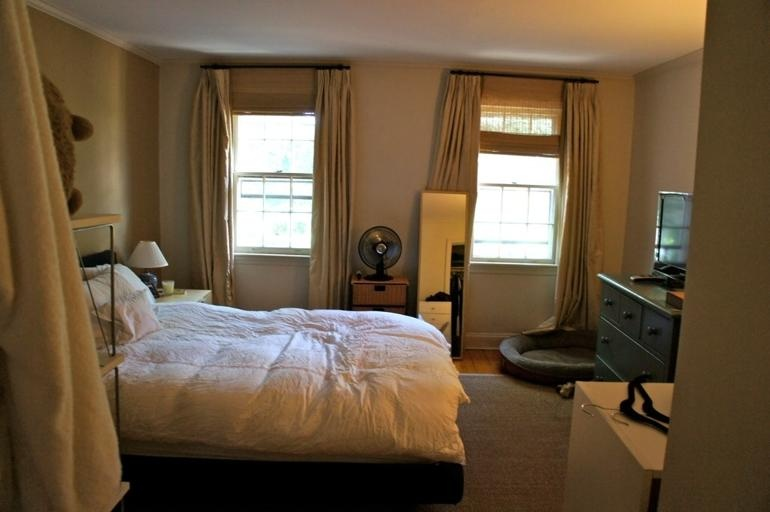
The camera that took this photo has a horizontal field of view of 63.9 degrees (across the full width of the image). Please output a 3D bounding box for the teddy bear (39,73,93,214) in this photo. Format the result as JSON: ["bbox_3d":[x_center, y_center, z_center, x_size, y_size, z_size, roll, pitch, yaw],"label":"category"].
[{"bbox_3d":[-1.151,-0.399,2.260,0.142,0.495,0.450,-4,14,-25],"label":"teddy bear"}]

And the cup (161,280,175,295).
[{"bbox_3d":[-1.879,0.264,5.369,0.119,0.135,0.126,3,4,0],"label":"cup"}]

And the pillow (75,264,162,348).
[{"bbox_3d":[-1.555,0.294,3.592,0.117,0.397,0.344,-33,-9,19],"label":"pillow"}]

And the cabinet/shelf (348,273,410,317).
[{"bbox_3d":[-0.062,0.269,5.675,0.502,0.383,0.308,1,3,0],"label":"cabinet/shelf"}]

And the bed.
[{"bbox_3d":[-0.570,0.748,3.607,2.007,0.825,1.419,0,14,-6],"label":"bed"}]

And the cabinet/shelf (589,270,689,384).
[{"bbox_3d":[1.602,0.447,3.898,0.366,0.809,0.862,1,5,2],"label":"cabinet/shelf"}]

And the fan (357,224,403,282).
[{"bbox_3d":[-0.065,-0.048,5.715,0.515,0.627,0.262,0,3,-4],"label":"fan"}]
